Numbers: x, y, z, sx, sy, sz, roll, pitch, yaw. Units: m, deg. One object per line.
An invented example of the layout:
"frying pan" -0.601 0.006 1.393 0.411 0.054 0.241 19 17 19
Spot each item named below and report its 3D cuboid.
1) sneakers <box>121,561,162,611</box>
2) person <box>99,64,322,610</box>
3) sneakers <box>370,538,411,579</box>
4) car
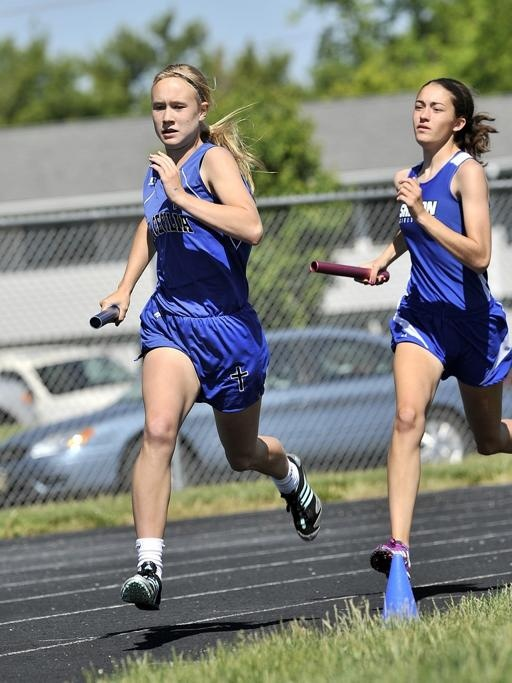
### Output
"sneakers" -0.342 0.783 2.936 0.080 0.090 0.202 17 -13 10
"person" -0.240 -0.046 3.447 0.632 1.929 1.073 -6 -5 -2
"sneakers" 0.444 0.722 3.088 0.089 0.073 0.179 -3 -15 18
"car" -0.076 0.564 7.596 3.894 1.035 1.515 0 -3 -22
